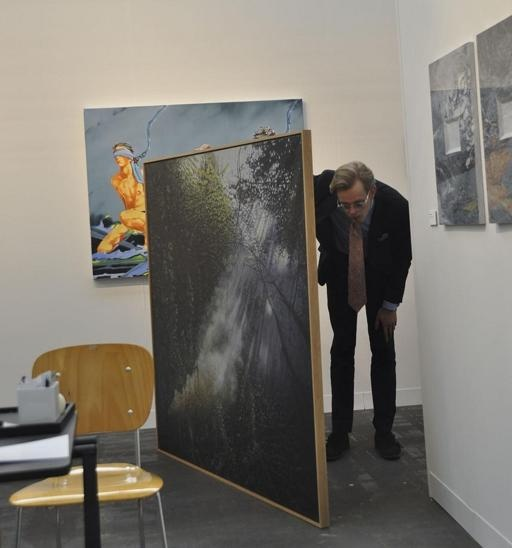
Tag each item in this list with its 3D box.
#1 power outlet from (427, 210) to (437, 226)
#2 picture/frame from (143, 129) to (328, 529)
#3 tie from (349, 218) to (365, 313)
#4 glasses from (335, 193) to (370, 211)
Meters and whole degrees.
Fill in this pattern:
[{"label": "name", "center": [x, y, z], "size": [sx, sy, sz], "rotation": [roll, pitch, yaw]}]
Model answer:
[{"label": "power outlet", "center": [0.767, -0.240, 2.266], "size": [0.010, 0.057, 0.045], "rotation": [0, -2, -17]}, {"label": "picture/frame", "center": [-0.114, 0.313, 2.669], "size": [0.070, 2.262, 1.720], "rotation": [-1, 1, -22]}, {"label": "tie", "center": [0.626, -0.036, 3.241], "size": [0.118, 0.563, 0.152], "rotation": [-1, 1, 3]}, {"label": "glasses", "center": [0.570, -0.414, 3.119], "size": [0.175, 0.058, 0.046], "rotation": [-2, 1, 13]}]
